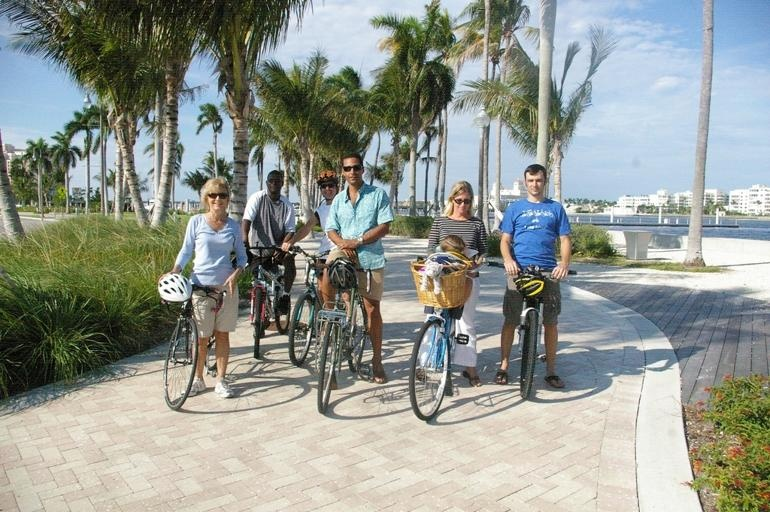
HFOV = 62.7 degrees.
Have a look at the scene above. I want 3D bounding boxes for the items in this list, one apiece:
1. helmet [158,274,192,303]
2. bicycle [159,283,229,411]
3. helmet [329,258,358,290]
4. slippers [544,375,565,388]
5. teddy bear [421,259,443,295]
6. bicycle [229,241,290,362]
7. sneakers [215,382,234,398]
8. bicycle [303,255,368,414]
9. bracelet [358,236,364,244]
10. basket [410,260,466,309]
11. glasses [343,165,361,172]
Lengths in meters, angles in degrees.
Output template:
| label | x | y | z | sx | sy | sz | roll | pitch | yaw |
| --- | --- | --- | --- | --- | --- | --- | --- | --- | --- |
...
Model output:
| label | x | y | z | sx | sy | sz | roll | pitch | yaw |
| --- | --- | --- | --- | --- | --- | --- | --- | --- | --- |
| helmet | -2.712 | 0.417 | 8.214 | 0.396 | 0.390 | 0.340 | -2 | 5 | -17 |
| bicycle | -2.810 | 0.973 | 8.934 | 0.621 | 1.434 | 2.246 | 14 | 10 | -20 |
| helmet | -0.584 | 0.214 | 8.769 | 0.475 | 0.372 | 0.575 | -6 | 9 | -12 |
| slippers | 2.447 | 1.818 | 9.218 | 0.138 | 0.108 | 0.268 | -7 | 3 | -20 |
| teddy bear | 0.607 | 0.248 | 8.118 | 0.301 | 0.469 | 0.185 | -1 | 5 | 3 |
| bicycle | -1.938 | 0.672 | 10.621 | 1.144 | 1.521 | 2.462 | -1 | 0 | 4 |
| sneakers | -2.188 | 1.823 | 8.623 | 0.138 | 0.117 | 0.281 | 0 | -2 | -33 |
| bicycle | -0.621 | 1.012 | 8.685 | 0.548 | 1.992 | 1.325 | 1 | 5 | 13 |
| bracelet | -0.314 | -0.230 | 8.677 | 0.054 | 0.088 | 0.085 | 0 | -2 | 8 |
| basket | 0.772 | 0.387 | 8.424 | 0.662 | 0.498 | 0.756 | -4 | 3 | -20 |
| glasses | -0.440 | -1.207 | 8.697 | 0.248 | 0.080 | 0.071 | -1 | 5 | -4 |
